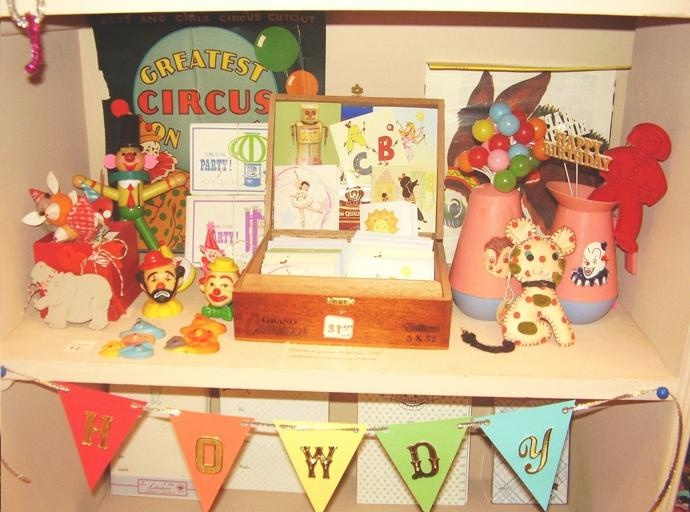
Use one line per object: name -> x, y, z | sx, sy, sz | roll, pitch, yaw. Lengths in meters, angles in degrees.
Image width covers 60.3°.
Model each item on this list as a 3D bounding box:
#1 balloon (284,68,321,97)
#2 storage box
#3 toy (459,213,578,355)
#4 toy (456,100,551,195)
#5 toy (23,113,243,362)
balloon -> -0.133, -0.526, 1.816 | 0.096, 0.099, 0.059 | 19, 12, -8
storage box -> 0.017, -0.198, 1.676 | 0.553, 0.503, 0.708 | 2, 30, 4
toy -> 0.454, 0.074, 1.525 | 0.285, 0.316, 0.174 | 4, 17, 12
toy -> 0.460, -0.299, 1.652 | 0.223, 0.240, 0.202 | -6, 18, -20
toy -> -0.596, -0.047, 1.668 | 0.607, 0.619, 0.327 | -1, 14, -9
